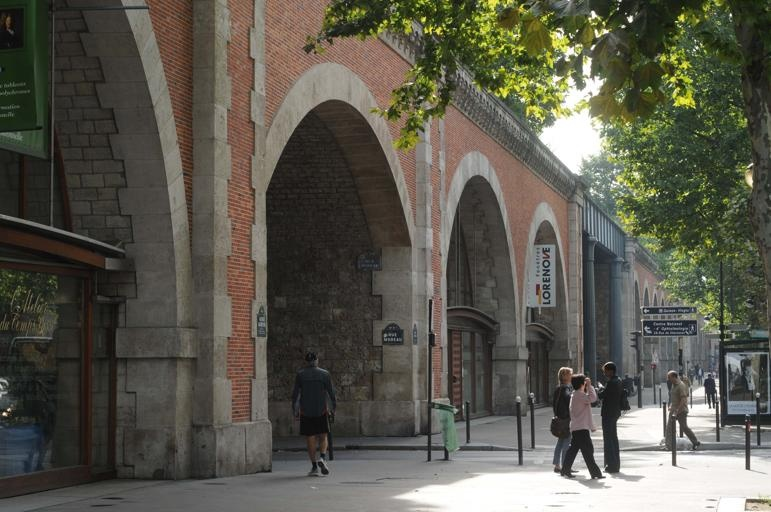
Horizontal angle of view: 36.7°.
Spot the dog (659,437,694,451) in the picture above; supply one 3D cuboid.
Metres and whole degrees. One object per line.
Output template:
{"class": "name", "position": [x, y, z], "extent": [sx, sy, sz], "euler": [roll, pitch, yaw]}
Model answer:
{"class": "dog", "position": [6.808, 4.358, 27.152], "extent": [0.525, 0.200, 0.401], "euler": [-5, -8, 38]}

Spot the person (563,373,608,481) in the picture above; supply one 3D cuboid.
{"class": "person", "position": [3.803, 3.270, 22.583], "extent": [0.759, 1.479, 1.330], "euler": [-5, -3, 10]}

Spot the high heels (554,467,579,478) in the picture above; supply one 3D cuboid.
{"class": "high heels", "position": [3.479, 4.116, 22.260], "extent": [0.455, 0.213, 0.164], "euler": [-3, -5, 21]}

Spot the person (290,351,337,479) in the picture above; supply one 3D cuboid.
{"class": "person", "position": [-1.342, 2.982, 22.022], "extent": [0.776, 2.298, 0.508], "euler": [-4, -3, -5]}
